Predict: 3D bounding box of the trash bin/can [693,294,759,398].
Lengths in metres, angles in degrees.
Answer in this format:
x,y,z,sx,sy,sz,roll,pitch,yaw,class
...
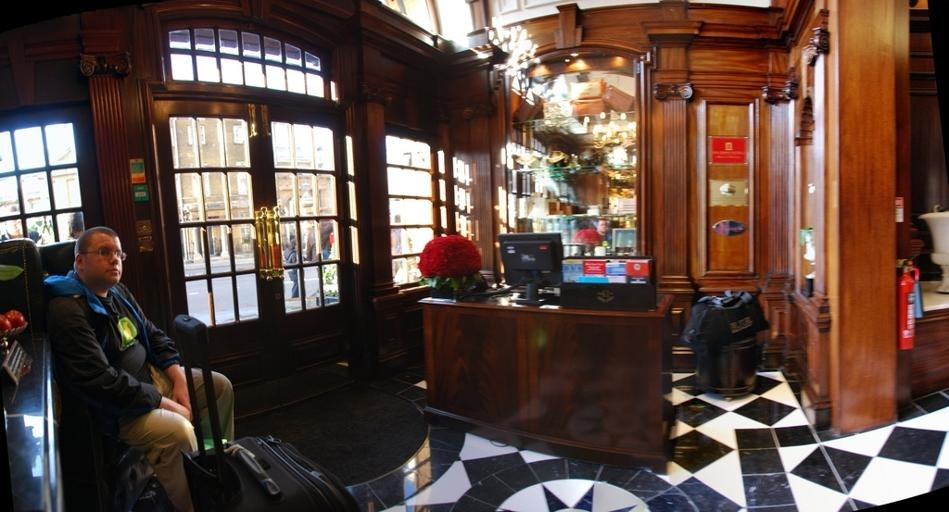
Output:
x,y,z,sx,sy,sz,roll,pitch,yaw,class
2.564,0.894,6.493,0.786,1.015,0.343,-1,4,9,trash bin/can

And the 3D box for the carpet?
x,y,z,sx,sy,sz,roll,pitch,yaw,class
-1.231,1.590,6.035,1.465,1.435,0.041,27,34,-19,carpet

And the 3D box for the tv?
x,y,z,sx,sy,sz,roll,pitch,yaw,class
0.547,0.129,5.901,0.851,0.628,0.346,2,13,19,tv

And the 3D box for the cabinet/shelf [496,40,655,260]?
x,y,z,sx,sy,sz,roll,pitch,yaw,class
1.104,-1.188,7.437,1.597,2.311,0.682,-2,3,2,cabinet/shelf

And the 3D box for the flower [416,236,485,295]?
x,y,z,sx,sy,sz,roll,pitch,yaw,class
-0.165,0.077,6.172,0.730,0.522,0.586,0,10,13,flower
